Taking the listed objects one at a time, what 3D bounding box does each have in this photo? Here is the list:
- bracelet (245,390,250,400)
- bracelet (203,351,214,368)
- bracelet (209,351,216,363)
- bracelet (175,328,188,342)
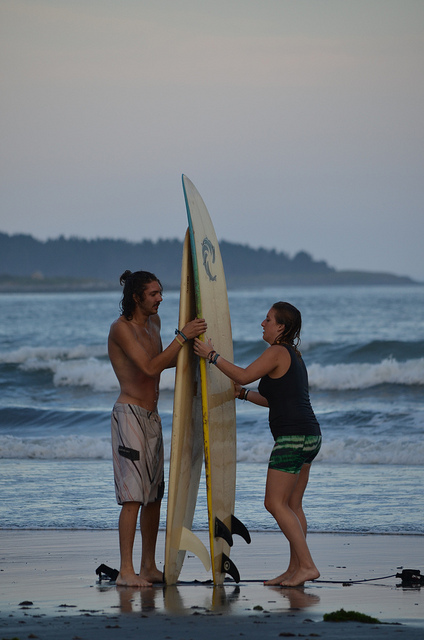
[{"bbox_3d":[0.214,0.428,9.091,0.012,0.052,0.047,9,12,10],"label":"bracelet"},{"bbox_3d":[-0.022,0.202,8.712,0.018,0.086,0.078,7,1,12],"label":"bracelet"},{"bbox_3d":[0.002,0.194,8.695,0.015,0.059,0.039,18,6,20],"label":"bracelet"},{"bbox_3d":[-0.174,0.067,8.678,0.018,0.064,0.050,-34,-6,-1],"label":"bracelet"}]
